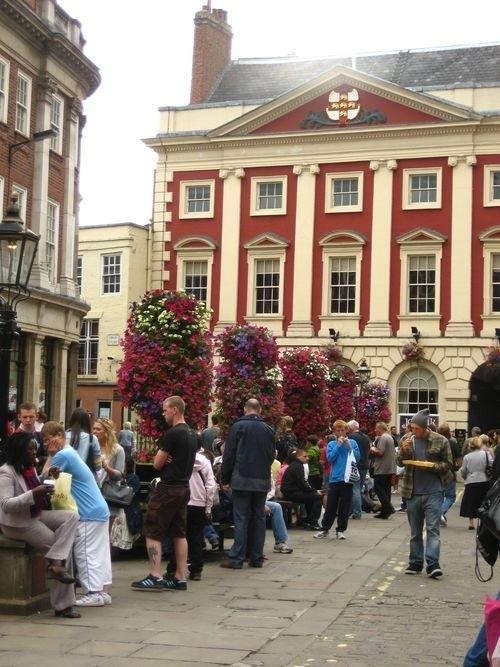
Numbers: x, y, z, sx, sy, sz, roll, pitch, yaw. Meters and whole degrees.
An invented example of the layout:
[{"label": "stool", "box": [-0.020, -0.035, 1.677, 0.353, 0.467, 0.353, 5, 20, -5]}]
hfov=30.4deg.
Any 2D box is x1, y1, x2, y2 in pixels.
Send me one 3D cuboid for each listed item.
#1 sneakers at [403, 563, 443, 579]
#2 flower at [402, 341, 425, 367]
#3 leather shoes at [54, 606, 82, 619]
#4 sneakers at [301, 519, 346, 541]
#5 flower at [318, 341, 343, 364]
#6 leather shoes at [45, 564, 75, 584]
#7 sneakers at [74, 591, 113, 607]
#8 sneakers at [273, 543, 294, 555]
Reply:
[{"label": "sneakers", "box": [1.919, 2.607, 10.143, 0.532, 0.184, 0.158, -4, -5, 29]}, {"label": "flower", "box": [5.848, 0.769, 32.757, 0.767, 0.773, 0.544, -20, -38, 6]}, {"label": "leather shoes", "box": [-1.516, 2.249, 7.385, 0.270, 0.108, 0.085, -4, -6, 12]}, {"label": "sneakers", "box": [1.108, 2.946, 13.672, 0.629, 0.244, 0.212, 7, -4, -6]}, {"label": "flower", "box": [3.035, 0.702, 33.525, 0.886, 0.767, 0.439, 2, -14, 4]}, {"label": "leather shoes", "box": [-1.497, 1.879, 7.229, 0.305, 0.108, 0.108, 7, 4, 36]}, {"label": "sneakers", "box": [-1.343, 2.274, 7.871, 0.334, 0.132, 0.112, 2, -2, -1]}, {"label": "sneakers", "box": [0.419, 2.791, 11.869, 0.266, 0.101, 0.096, 0, -1, 27]}]
